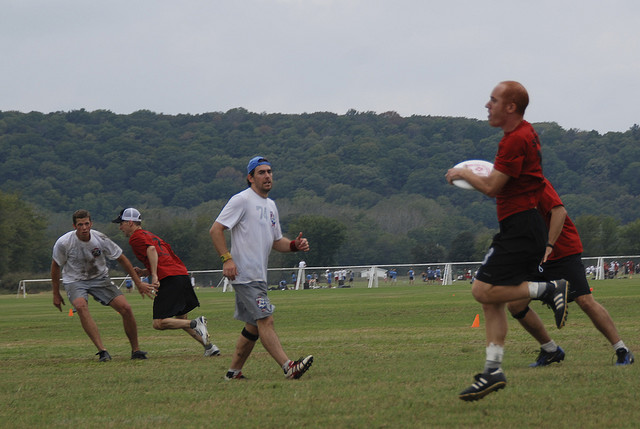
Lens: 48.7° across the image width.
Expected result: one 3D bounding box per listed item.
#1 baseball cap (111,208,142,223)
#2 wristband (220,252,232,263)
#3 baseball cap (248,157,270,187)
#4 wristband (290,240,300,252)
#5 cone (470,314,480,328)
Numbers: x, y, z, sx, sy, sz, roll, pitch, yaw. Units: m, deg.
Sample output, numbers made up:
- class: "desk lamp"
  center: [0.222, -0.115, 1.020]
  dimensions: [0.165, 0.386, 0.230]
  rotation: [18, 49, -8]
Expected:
- class: "baseball cap"
  center: [-2.917, 0.021, 10.678]
  dimensions: [0.368, 0.159, 0.226]
  rotation: [2, 4, 4]
- class: "wristband"
  center: [-1.123, 0.513, 8.373]
  dimensions: [0.117, 0.079, 0.109]
  rotation: [-23, -12, -20]
- class: "baseball cap"
  center: [-0.776, -0.530, 8.759]
  dimensions: [0.248, 0.376, 0.288]
  rotation: [-1, -1, -6]
- class: "wristband"
  center: [-0.344, 0.398, 8.931]
  dimensions: [0.093, 0.131, 0.214]
  rotation: [-1, -1, -3]
- class: "cone"
  center: [2.711, 1.882, 12.504]
  dimensions: [0.168, 0.226, 0.490]
  rotation: [-2, -1, 11]
